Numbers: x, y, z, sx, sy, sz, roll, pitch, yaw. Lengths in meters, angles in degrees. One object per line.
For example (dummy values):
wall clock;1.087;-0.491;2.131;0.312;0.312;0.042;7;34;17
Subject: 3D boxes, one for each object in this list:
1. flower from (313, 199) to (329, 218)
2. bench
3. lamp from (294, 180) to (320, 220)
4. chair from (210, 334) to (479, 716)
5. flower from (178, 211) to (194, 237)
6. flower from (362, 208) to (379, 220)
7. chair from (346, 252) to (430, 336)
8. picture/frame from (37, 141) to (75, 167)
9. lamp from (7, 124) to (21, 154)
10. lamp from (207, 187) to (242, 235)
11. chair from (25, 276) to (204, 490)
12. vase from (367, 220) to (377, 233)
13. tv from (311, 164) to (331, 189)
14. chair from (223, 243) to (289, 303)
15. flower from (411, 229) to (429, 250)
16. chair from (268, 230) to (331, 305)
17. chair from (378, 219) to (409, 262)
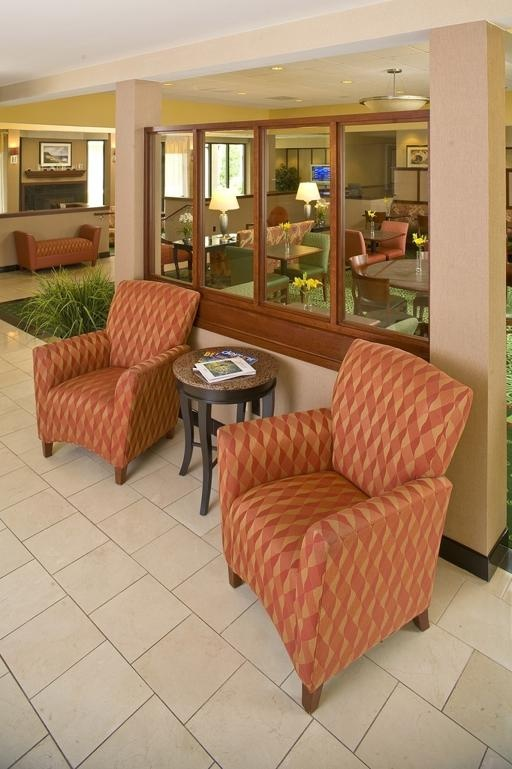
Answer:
flower;0.329;-0.891;2.745;0.038;0.089;0.101;-12;16;-41
bench;-3.370;-2.387;9.362;0.489;0.607;1.326;24;32;38
lamp;0.266;-0.959;2.752;0.118;0.152;0.126;3;17;16
chair;0.285;0.437;2.033;0.781;1.023;0.882;-5;22;-9
flower;-0.471;-1.095;3.707;0.130;0.182;0.147;-1;11;-7
flower;0.540;-0.803;2.568;0.054;0.049;0.047;5;46;4
chair;0.630;-0.433;2.547;0.227;0.335;0.257;-34;42;-31
picture/frame;-4.851;-5.597;13.132;0.025;0.551;0.747;10;17;35
lamp;-5.390;-5.446;12.157;0.284;0.478;0.463;-7;13;-22
lamp;-0.167;-1.051;3.347;0.210;0.286;0.219;-1;19;-1
chair;-0.831;-0.081;3.441;0.961;1.020;0.883;-14;25;-41
vase;0.546;-0.742;2.566;0.030;0.058;0.050;-10;15;-34
tv;0.309;-1.037;2.705;0.062;0.122;0.172;-6;13;-19
chair;0.016;-0.667;3.213;0.258;0.439;0.229;-20;30;-34
flower;0.716;-0.633;2.380;0.071;0.140;0.074;1;7;7
chair;0.249;-0.615;2.879;0.242;0.357;0.253;-9;25;-21
chair;0.635;-0.668;2.524;0.152;0.168;0.104;5;14;29
